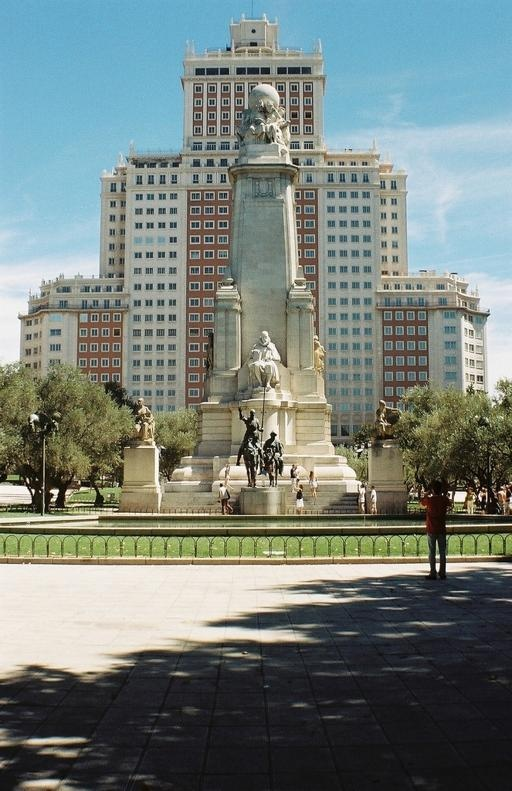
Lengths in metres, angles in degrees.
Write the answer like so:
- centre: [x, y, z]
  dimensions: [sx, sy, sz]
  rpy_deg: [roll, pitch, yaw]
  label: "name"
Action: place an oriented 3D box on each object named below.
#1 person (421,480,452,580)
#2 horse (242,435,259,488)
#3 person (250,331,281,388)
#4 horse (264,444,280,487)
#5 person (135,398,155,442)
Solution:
- centre: [2.868, 2.139, 14.962]
  dimensions: [0.386, 1.573, 2.012]
  rpy_deg: [-1, -2, 11]
  label: "person"
- centre: [-0.164, 2.184, 30.924]
  dimensions: [0.532, 1.643, 1.051]
  rpy_deg: [-1, -2, 6]
  label: "horse"
- centre: [0.398, -1.494, 39.132]
  dimensions: [1.391, 2.438, 1.107]
  rpy_deg: [0, -2, -19]
  label: "person"
- centre: [0.546, 2.360, 31.508]
  dimensions: [0.524, 1.462, 0.896]
  rpy_deg: [-1, -2, 1]
  label: "horse"
- centre: [-4.338, 0.995, 36.171]
  dimensions: [0.699, 1.730, 1.587]
  rpy_deg: [0, -2, -9]
  label: "person"
